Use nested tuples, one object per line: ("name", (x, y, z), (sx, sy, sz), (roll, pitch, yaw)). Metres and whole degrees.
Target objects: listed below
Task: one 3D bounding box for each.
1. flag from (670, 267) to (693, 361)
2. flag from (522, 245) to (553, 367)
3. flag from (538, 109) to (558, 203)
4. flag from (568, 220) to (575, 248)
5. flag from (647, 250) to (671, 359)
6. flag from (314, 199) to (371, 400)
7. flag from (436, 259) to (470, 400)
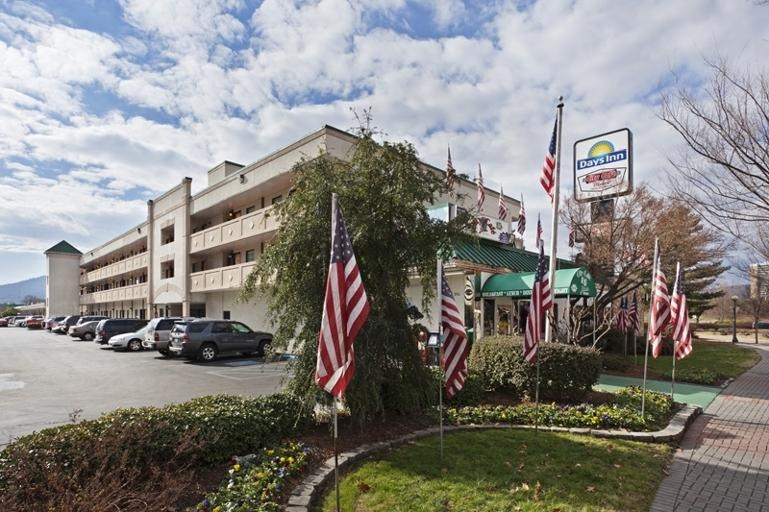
("flag", (9.630, 1.788, 17.248), (0.577, 3.412, 0.482), (-4, 21, 21))
("flag", (4.497, 1.453, 15.459), (0.645, 3.584, 1.547), (4, 8, 17))
("flag", (5.980, -3.515, 19.065), (0.473, 2.999, 0.952), (4, 9, 16))
("flag", (10.026, -1.183, 28.097), (0.300, 1.576, 3.132), (4, 8, 20))
("flag", (8.270, 1.534, 15.923), (0.472, 3.089, 1.066), (6, 9, 27))
("flag", (-0.892, 0.897, 11.650), (0.912, 4.455, 1.088), (4, 9, 19))
("flag", (1.728, 1.888, 13.554), (0.808, 3.501, 0.525), (2, 8, 6))
